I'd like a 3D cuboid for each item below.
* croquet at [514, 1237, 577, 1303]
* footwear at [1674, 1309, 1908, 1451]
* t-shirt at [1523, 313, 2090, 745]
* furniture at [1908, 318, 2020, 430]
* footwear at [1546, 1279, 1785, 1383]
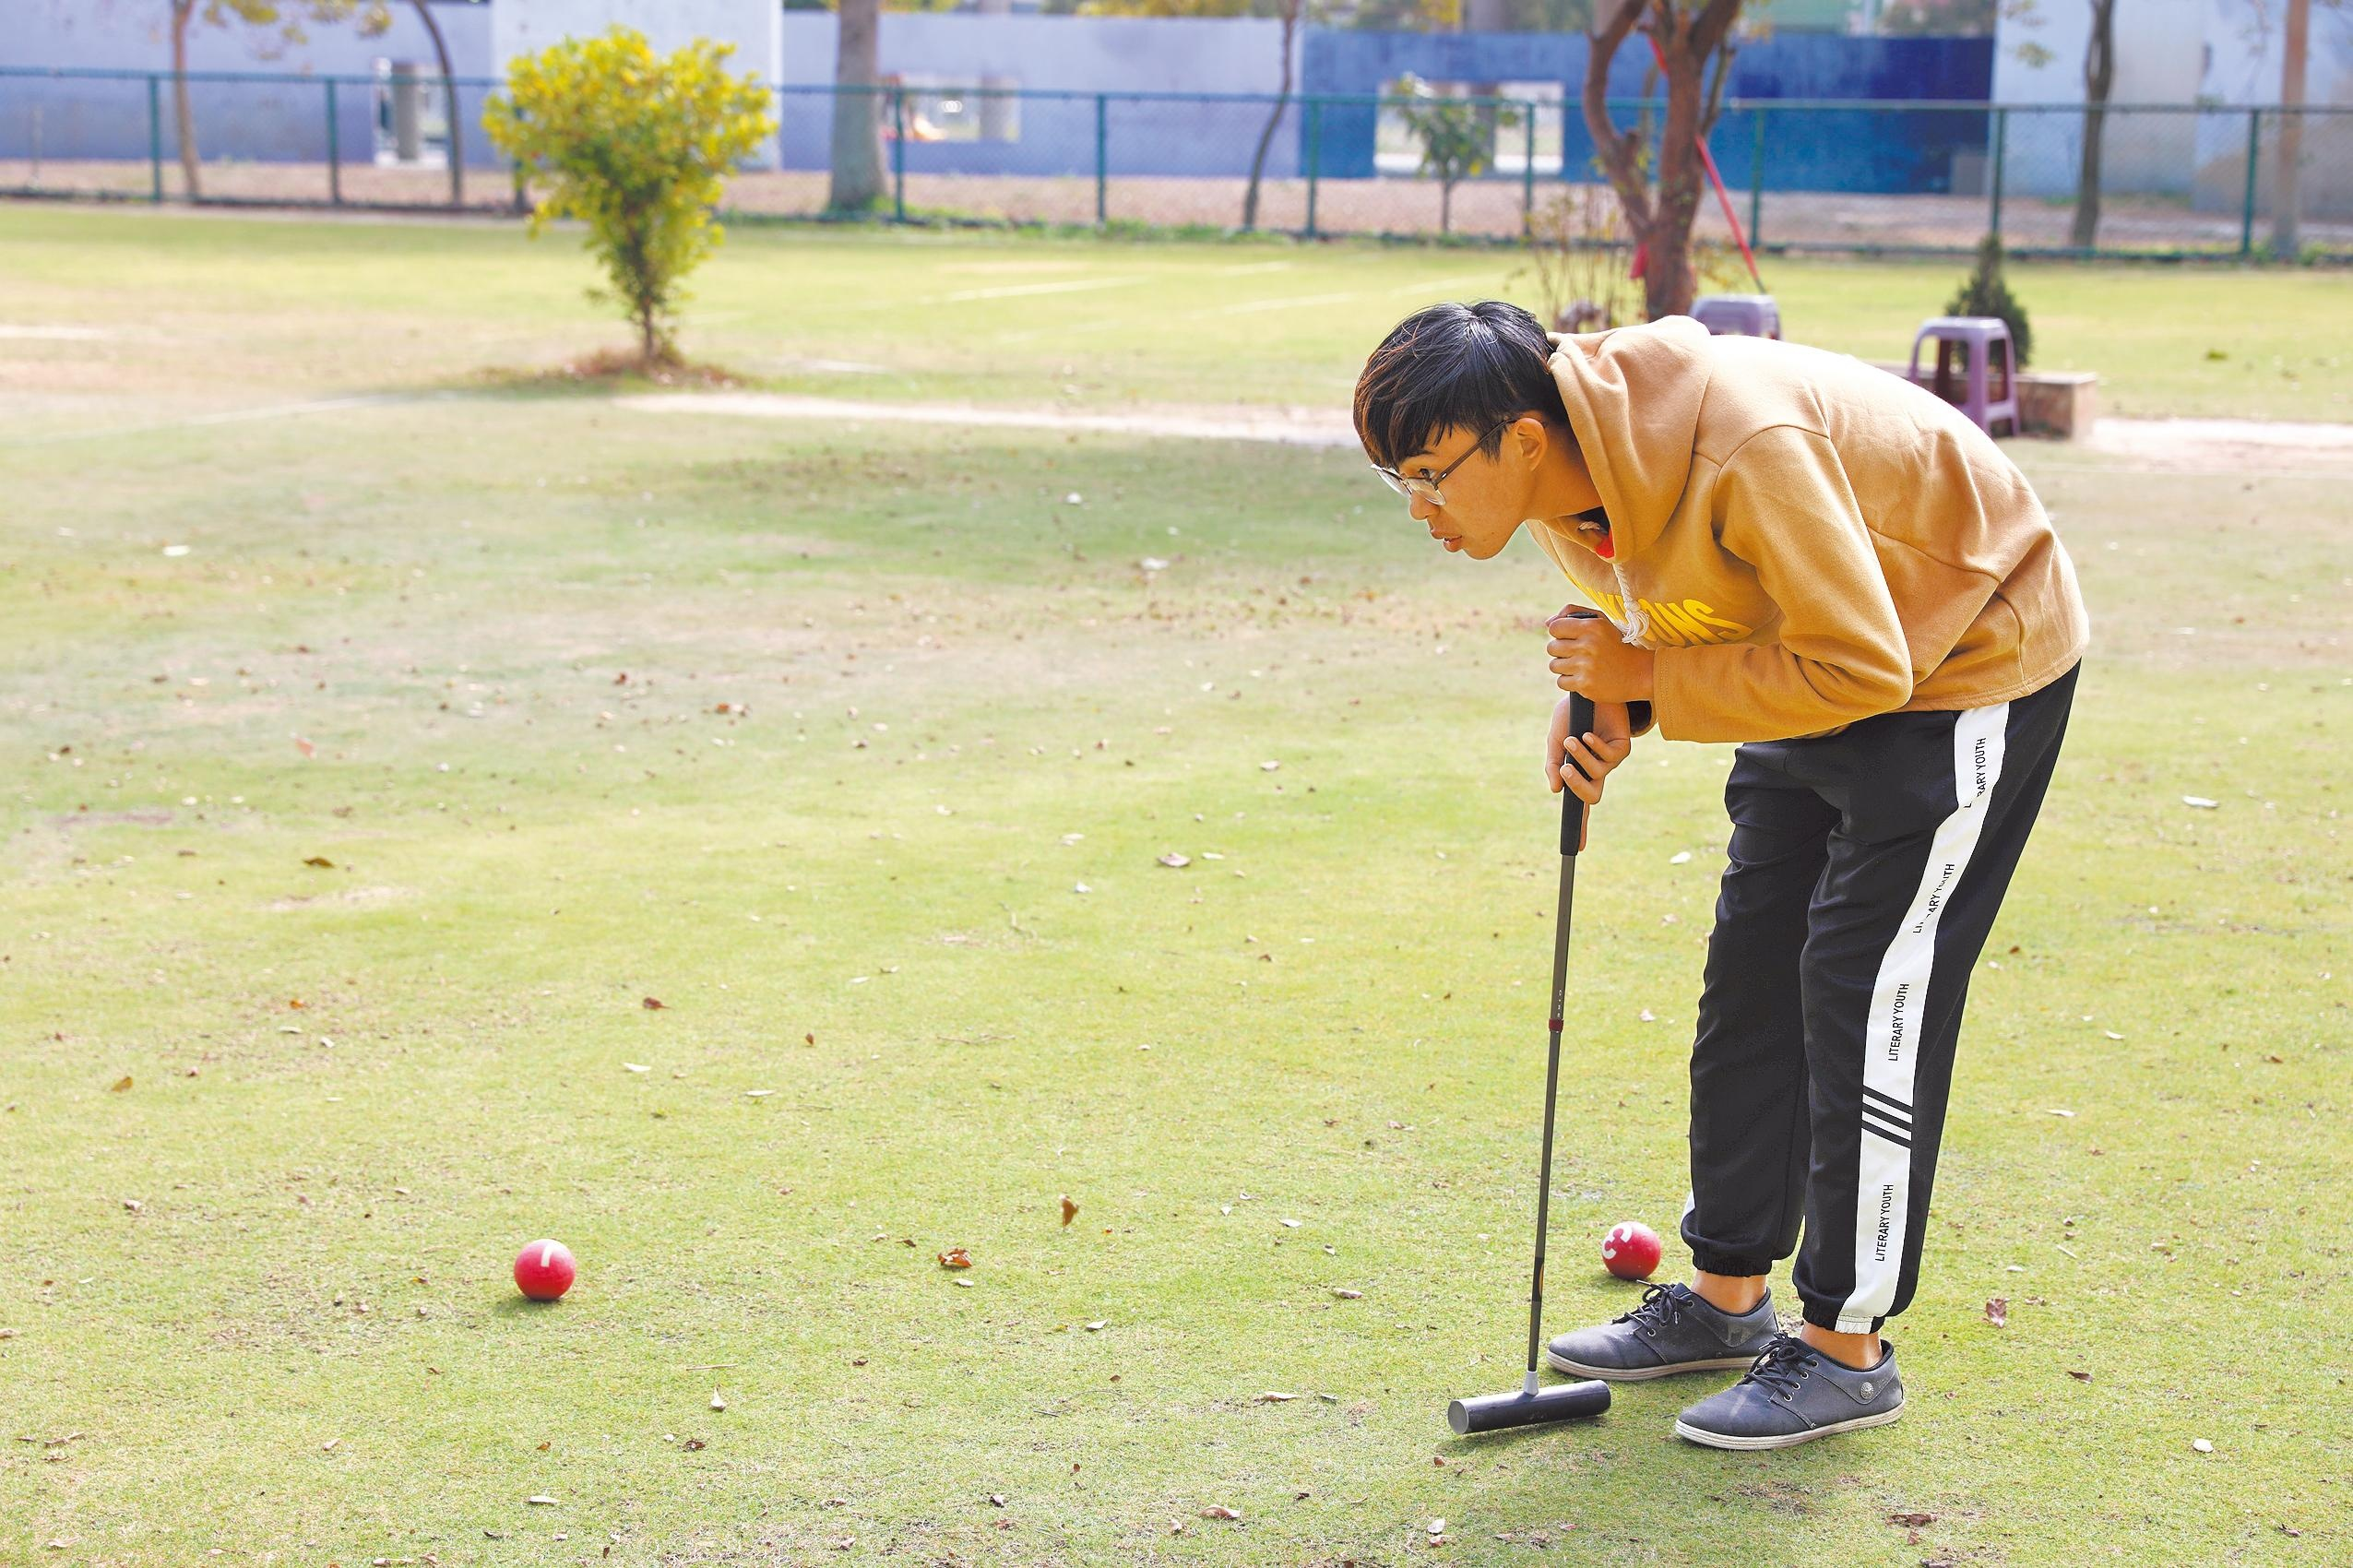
[{"bbox_3d":[-1.912,1.440,11.040,0.206,0.161,0.184,-2,17,-10],"label":"croquet"},{"bbox_3d":[1.786,1.744,10.668,0.809,0.265,0.281,-2,19,-33],"label":"footwear"},{"bbox_3d":[1.775,-0.710,10.658,1.561,0.821,1.320,0,-2,-4],"label":"t-shirt"},{"bbox_3d":[4.374,-2.272,20.736,0.660,0.691,0.589,11,14,30],"label":"furniture"},{"bbox_3d":[1.438,1.643,10.950,0.862,0.246,0.256,-1,-5,-5],"label":"footwear"}]
